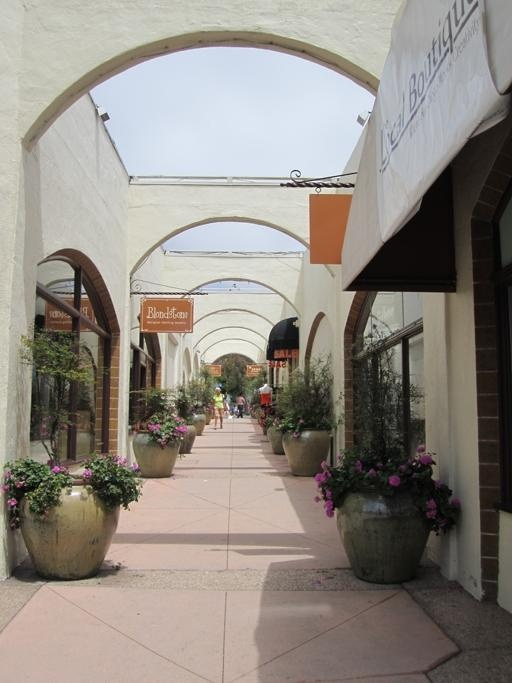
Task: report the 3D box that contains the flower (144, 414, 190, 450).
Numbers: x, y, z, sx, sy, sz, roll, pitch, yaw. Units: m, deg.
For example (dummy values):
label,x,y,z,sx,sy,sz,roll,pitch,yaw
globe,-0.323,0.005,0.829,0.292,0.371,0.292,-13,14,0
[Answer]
label,x,y,z,sx,sy,sz,roll,pitch,yaw
flower,-1.480,1.452,9.793,0.667,0.498,0.432,0,-7,-4

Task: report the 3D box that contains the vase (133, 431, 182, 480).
label,x,y,z,sx,sy,sz,roll,pitch,yaw
vase,-1.681,1.865,10.197,0.800,0.799,0.857,1,1,12

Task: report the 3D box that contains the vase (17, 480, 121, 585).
label,x,y,z,sx,sy,sz,roll,pitch,yaw
vase,-1.377,1.368,4.503,0.634,0.619,0.676,-1,-7,1

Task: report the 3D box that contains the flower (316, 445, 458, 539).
label,x,y,z,sx,sy,sz,roll,pitch,yaw
flower,0.964,1.029,4.405,0.690,0.488,0.777,-5,7,-36

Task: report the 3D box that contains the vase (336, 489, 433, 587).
label,x,y,z,sx,sy,sz,roll,pitch,yaw
vase,0.927,1.391,4.427,0.588,0.547,0.621,0,-6,-2
